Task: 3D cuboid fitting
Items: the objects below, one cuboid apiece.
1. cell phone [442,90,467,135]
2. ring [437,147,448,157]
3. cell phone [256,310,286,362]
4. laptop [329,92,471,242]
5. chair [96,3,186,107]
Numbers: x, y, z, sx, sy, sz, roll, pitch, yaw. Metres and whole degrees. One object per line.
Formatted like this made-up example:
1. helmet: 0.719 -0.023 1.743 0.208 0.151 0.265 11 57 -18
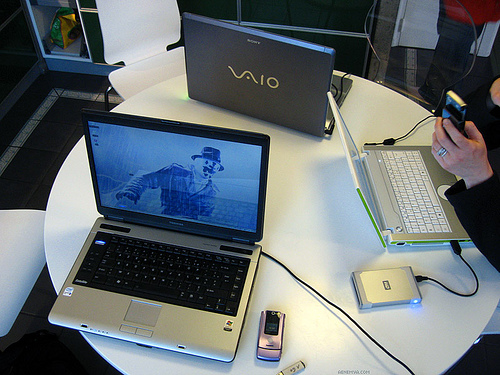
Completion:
1. cell phone: 0.706 -0.251 1.370 0.026 0.172 0.096 -23 49 5
2. ring: 0.683 -0.126 1.410 0.006 0.027 0.027 30 60 5
3. cell phone: 0.060 0.473 1.261 0.073 0.044 0.146 6 67 4
4. laptop: 0.596 -0.019 1.488 0.496 0.327 0.546 -4 57 -3
5. chair: -0.610 -0.876 2.374 0.581 0.428 0.388 -28 57 -23
